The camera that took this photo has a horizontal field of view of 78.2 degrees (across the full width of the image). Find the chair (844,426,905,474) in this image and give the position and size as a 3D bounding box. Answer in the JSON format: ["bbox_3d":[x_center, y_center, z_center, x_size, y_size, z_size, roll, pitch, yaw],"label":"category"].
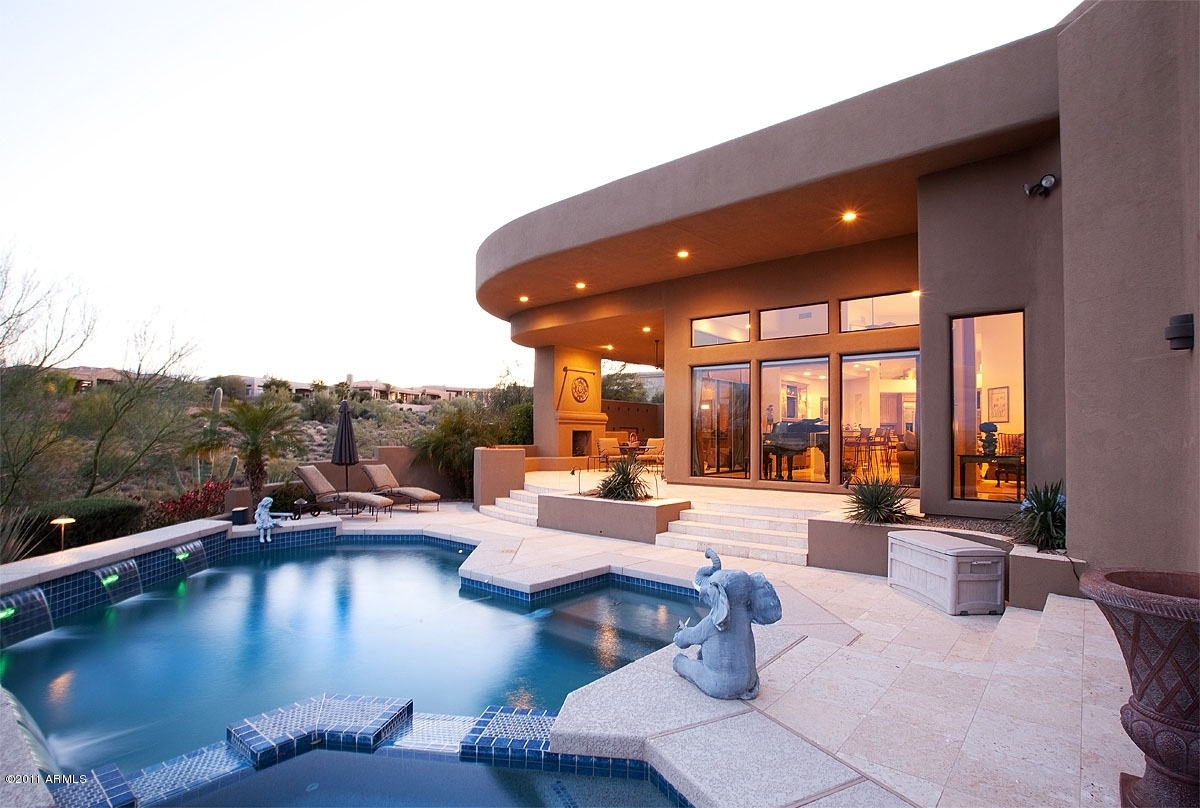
[{"bbox_3d":[6.245,1.091,16.794,1.234,1.257,0.935,1,3,31],"label":"chair"}]

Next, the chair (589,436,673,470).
[{"bbox_3d":[0.837,1.453,22.767,1.444,0.721,1.427,1,-6,-16],"label":"chair"}]

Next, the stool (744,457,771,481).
[{"bbox_3d":[3.838,1.572,17.782,0.593,0.603,0.450,-2,-9,17],"label":"stool"}]

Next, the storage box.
[{"bbox_3d":[5.536,2.663,11.848,1.024,1.062,1.778,-1,0,-7],"label":"storage box"}]

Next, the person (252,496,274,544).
[{"bbox_3d":[-6.831,2.369,15.058,0.354,0.946,0.517,2,-4,-25],"label":"person"}]

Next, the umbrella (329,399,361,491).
[{"bbox_3d":[-6.418,1.023,18.552,0.597,2.270,1.752,1,-4,-20],"label":"umbrella"}]

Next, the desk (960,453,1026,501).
[{"bbox_3d":[6.955,1.286,13.036,0.802,0.787,0.352,-2,-6,40],"label":"desk"}]

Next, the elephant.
[{"bbox_3d":[1.572,2.754,9.264,1.280,1.849,0.676,0,-3,6],"label":"elephant"}]
